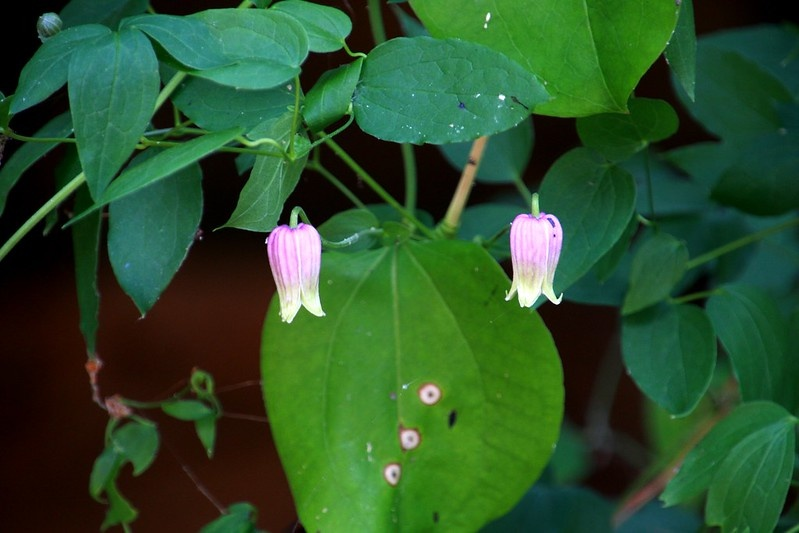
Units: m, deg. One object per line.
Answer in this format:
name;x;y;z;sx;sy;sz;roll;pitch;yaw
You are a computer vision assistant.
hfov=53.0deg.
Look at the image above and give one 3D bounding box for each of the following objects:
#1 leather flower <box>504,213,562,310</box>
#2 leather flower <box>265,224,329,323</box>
leather flower;0.221;-0.016;1.409;0.115;0.204;0.134;0;10;-1
leather flower;-0.167;0.011;1.308;0.086;0.147;0.077;-7;-17;-7
